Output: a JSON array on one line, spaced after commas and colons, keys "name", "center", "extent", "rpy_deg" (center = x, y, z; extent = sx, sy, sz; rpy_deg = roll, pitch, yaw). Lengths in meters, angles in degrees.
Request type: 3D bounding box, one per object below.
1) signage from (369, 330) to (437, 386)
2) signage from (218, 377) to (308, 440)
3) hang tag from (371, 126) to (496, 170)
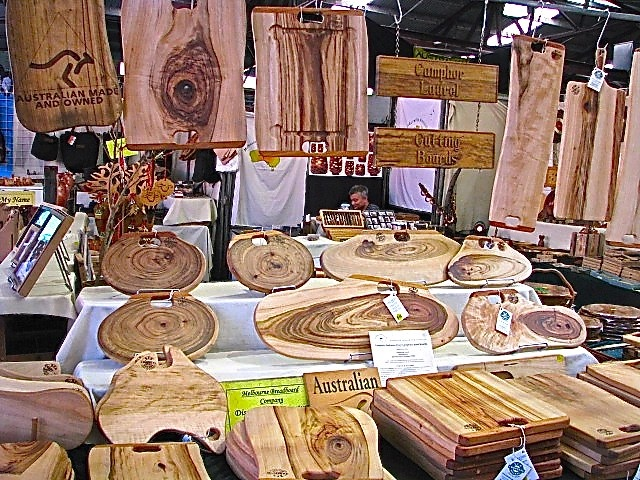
[{"name": "signage", "center": [0.350, 0.445, 1.689], "extent": [0.245, 0.192, 0.051], "rpy_deg": [-4, -18, -13]}, {"name": "signage", "center": [-0.198, 0.566, 1.544], "extent": [0.221, 0.046, 0.175], "rpy_deg": [1, 45, -5]}, {"name": "hang tag", "center": [0.517, -0.427, 2.075], "extent": [0.594, 0.165, 0.054], "rpy_deg": [-1, 11, -11]}]
